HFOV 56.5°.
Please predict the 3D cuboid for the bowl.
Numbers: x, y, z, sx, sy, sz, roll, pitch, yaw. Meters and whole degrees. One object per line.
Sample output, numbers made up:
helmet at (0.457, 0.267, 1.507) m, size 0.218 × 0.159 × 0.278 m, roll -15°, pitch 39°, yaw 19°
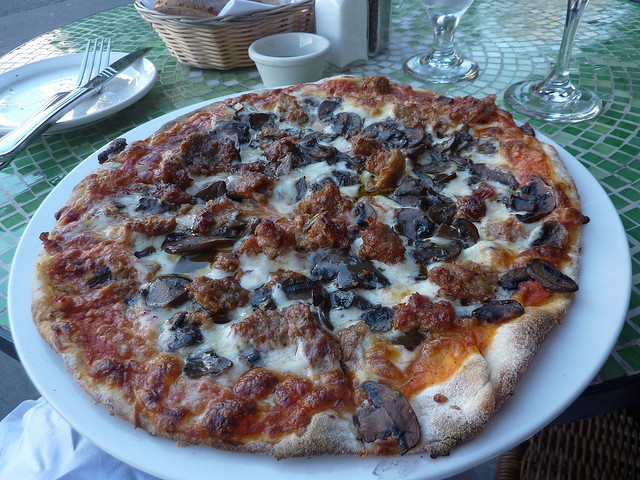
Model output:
bowl at (-0.151, -1.099, 3.645) m, size 0.425 × 0.205 × 0.404 m, roll -3°, pitch 49°, yaw 3°
